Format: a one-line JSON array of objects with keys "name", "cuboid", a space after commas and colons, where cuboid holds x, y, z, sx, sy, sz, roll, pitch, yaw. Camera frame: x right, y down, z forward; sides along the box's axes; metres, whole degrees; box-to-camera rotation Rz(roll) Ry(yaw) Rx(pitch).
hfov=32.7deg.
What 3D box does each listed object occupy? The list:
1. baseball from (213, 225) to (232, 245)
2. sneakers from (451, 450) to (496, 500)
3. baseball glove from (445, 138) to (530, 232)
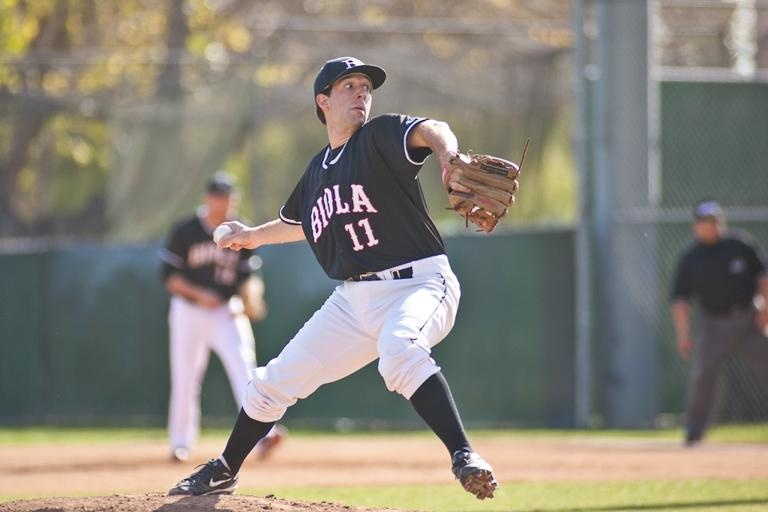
[{"name": "baseball", "cuboid": [-1.096, -0.156, 8.925, 0.116, 0.119, 0.116, -34, 1, -13]}, {"name": "sneakers", "cuboid": [0.547, 1.330, 8.155, 0.169, 0.191, 0.347, -16, 37, -26]}, {"name": "baseball glove", "cuboid": [0.593, -0.394, 8.061, 0.419, 0.574, 0.282, 13, -7, -1]}]
